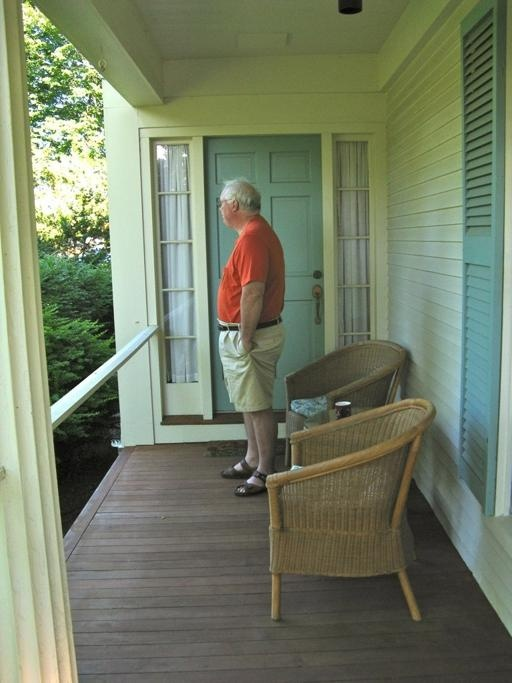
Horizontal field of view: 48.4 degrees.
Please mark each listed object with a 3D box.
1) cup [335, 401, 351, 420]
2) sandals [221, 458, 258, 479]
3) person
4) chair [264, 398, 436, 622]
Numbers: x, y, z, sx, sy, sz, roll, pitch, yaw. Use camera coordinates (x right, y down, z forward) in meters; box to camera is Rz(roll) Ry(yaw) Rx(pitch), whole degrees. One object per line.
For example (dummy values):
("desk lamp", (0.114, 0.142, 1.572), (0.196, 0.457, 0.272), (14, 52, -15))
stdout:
("cup", (0.407, 0.322, 2.624), (0.074, 0.077, 0.071), (-1, -2, 0))
("sandals", (-0.100, 0.775, 3.452), (0.195, 0.073, 0.099), (2, -2, -10))
("person", (-0.069, -0.014, 3.175), (0.441, 1.741, 0.389), (-1, 8, 14))
("chair", (0.314, 0.556, 2.287), (0.750, 0.861, 0.790), (1, 0, 5))
